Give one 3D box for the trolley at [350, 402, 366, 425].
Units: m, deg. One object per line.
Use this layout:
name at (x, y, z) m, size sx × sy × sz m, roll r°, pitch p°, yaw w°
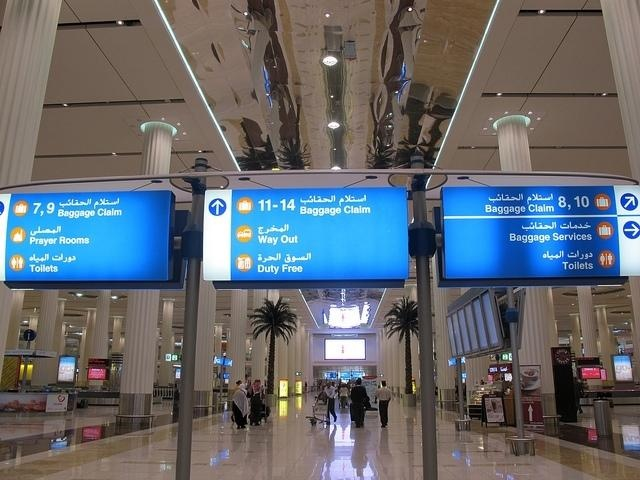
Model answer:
trolley at (1.637, 7.414, 18.146) m, size 0.497 × 0.913 × 0.977 m, roll -3°, pitch -15°, yaw 3°
